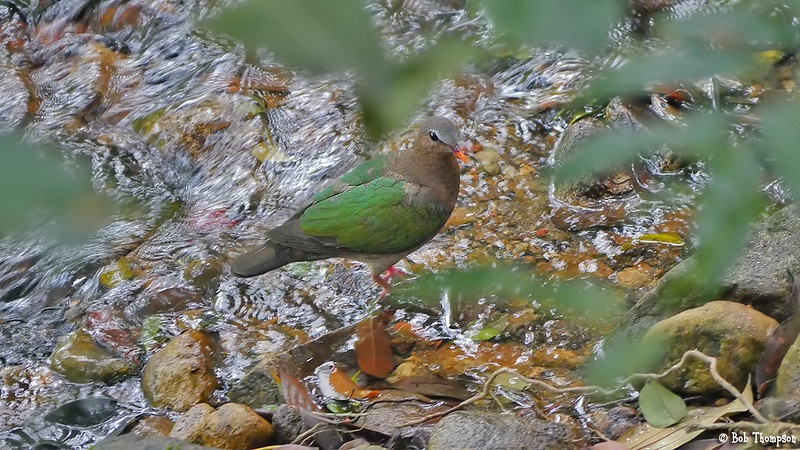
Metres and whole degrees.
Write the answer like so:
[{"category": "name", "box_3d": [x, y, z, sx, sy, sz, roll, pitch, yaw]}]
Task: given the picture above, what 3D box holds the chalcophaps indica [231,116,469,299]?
[{"category": "chalcophaps indica", "box_3d": [-0.168, -0.049, 7.225, 2.070, 0.813, 0.786, -40, 54, -8]}]
